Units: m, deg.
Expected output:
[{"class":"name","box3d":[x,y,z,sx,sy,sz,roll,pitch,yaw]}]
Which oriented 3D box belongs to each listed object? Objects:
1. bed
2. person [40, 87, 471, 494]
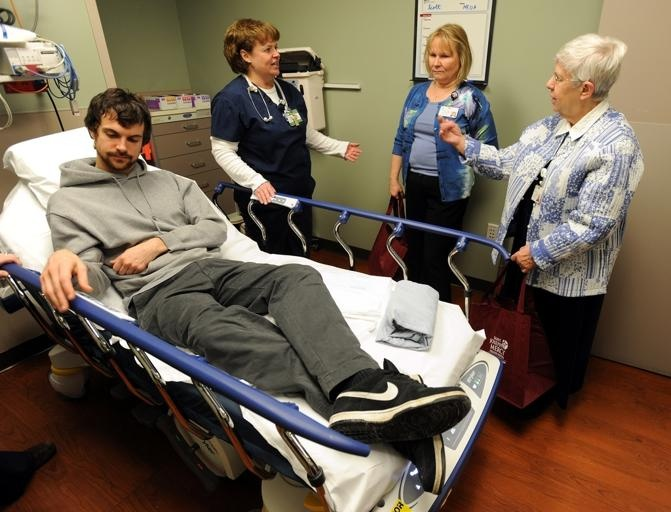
[{"class":"bed","box3d":[-0.583,0.498,2.332,2.318,0.984,1.367,20,41,16]},{"class":"person","box3d":[-0.493,0.039,1.963,2.005,1.238,1.156,18,22,35]}]
